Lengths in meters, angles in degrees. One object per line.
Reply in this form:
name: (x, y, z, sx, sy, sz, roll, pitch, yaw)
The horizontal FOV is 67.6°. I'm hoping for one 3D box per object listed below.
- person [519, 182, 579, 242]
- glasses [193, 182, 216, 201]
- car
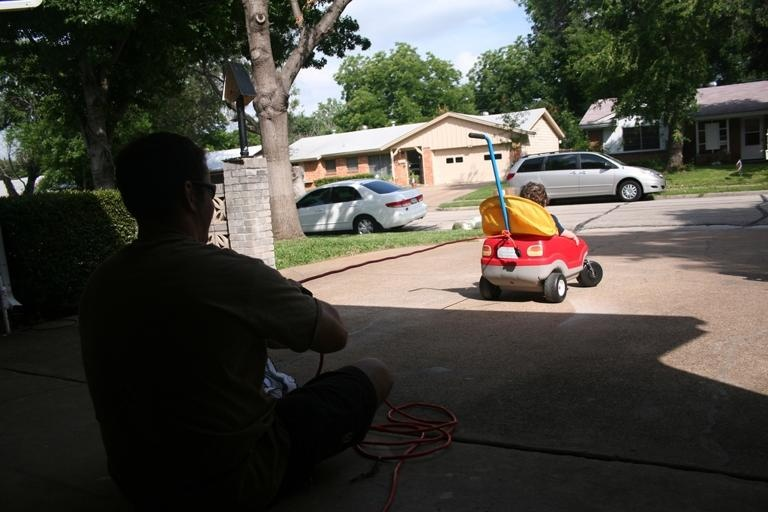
person: (1.996, -0.542, 7.044, 0.627, 0.705, 1.033, 5, 16, 33)
glasses: (-0.950, -0.340, 3.004, 0.094, 0.025, 0.092, -3, -10, 27)
car: (-0.699, -1.418, 16.581, 3.584, 1.083, 1.645, 2, 11, 26)
